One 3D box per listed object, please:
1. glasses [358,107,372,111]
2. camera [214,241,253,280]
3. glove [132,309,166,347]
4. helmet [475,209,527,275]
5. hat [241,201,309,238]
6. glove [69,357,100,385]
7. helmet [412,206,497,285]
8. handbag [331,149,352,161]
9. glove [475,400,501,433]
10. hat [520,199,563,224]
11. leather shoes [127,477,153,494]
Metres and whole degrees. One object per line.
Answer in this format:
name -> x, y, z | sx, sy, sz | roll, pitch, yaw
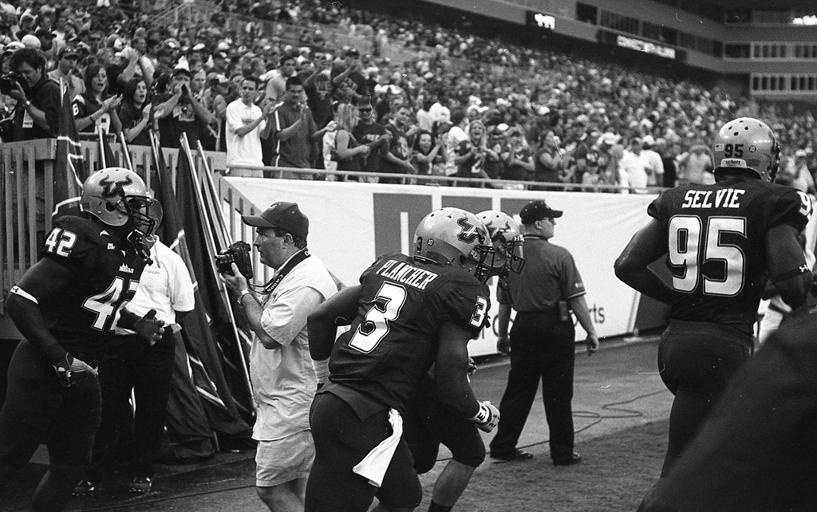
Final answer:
glasses -> -0.675, -2.210, 14.658 | 0.170, 0.063, 0.070 | -2, 7, -13
camera -> -1.542, 0.041, 8.740 | 0.323, 0.348, 0.375 | -10, 0, -3
glove -> -2.569, 0.720, 9.530 | 0.307, 0.342, 0.189 | 9, 25, 23
helmet -> 0.812, -0.154, 9.410 | 0.617, 0.552, 0.487 | 8, -1, -30
hat -> -1.140, -0.322, 8.425 | 0.646, 0.296, 0.389 | 8, 3, -14
glove -> -2.687, 0.951, 8.074 | 0.140, 0.221, 0.320 | 0, 7, 6
helmet -> 0.317, -0.087, 7.517 | 0.669, 0.556, 0.494 | 7, 2, -21
handbag -> -1.028, -1.487, 14.263 | 0.224, 0.108, 0.160 | 1, 2, 9
glove -> 0.576, 1.249, 7.403 | 0.170, 0.131, 0.375 | 40, -1, 10
hat -> 1.457, -0.474, 10.717 | 0.438, 0.217, 0.274 | -19, 10, 8
leather shoes -> -2.631, 2.274, 9.518 | 0.188, 0.140, 0.140 | -1, -1, -13
